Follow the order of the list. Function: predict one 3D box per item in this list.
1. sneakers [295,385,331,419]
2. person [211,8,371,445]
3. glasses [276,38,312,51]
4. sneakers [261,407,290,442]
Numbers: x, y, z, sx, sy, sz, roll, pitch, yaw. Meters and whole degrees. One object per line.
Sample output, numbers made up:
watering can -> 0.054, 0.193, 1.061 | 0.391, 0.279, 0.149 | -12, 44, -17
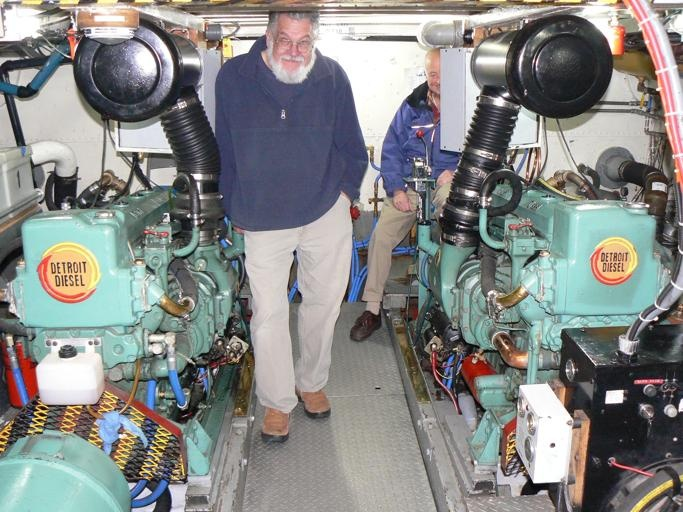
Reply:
sneakers -> -0.182, 1.009, 3.559 | 0.115, 0.132, 0.294 | -3, 8, -23
person -> -0.302, -0.146, 3.287 | 0.956, 2.586, 0.526 | -1, 11, -13
glasses -> -0.264, -1.201, 2.904 | 0.189, 0.055, 0.059 | 1, 11, -3
sneakers -> -0.428, 1.107, 3.403 | 0.170, 0.179, 0.423 | 9, -6, -7
